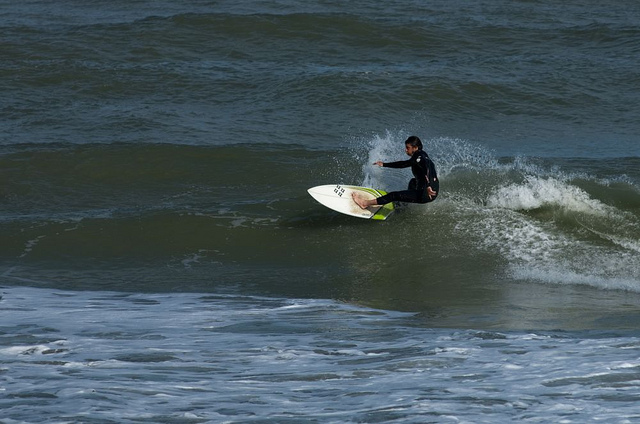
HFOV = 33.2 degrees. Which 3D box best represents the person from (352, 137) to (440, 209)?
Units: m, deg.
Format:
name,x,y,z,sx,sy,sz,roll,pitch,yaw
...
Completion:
name,x,y,z,sx,sy,sz,roll,pitch,yaw
person,2.316,-1.080,31.077,1.748,2.145,1.294,14,20,40
